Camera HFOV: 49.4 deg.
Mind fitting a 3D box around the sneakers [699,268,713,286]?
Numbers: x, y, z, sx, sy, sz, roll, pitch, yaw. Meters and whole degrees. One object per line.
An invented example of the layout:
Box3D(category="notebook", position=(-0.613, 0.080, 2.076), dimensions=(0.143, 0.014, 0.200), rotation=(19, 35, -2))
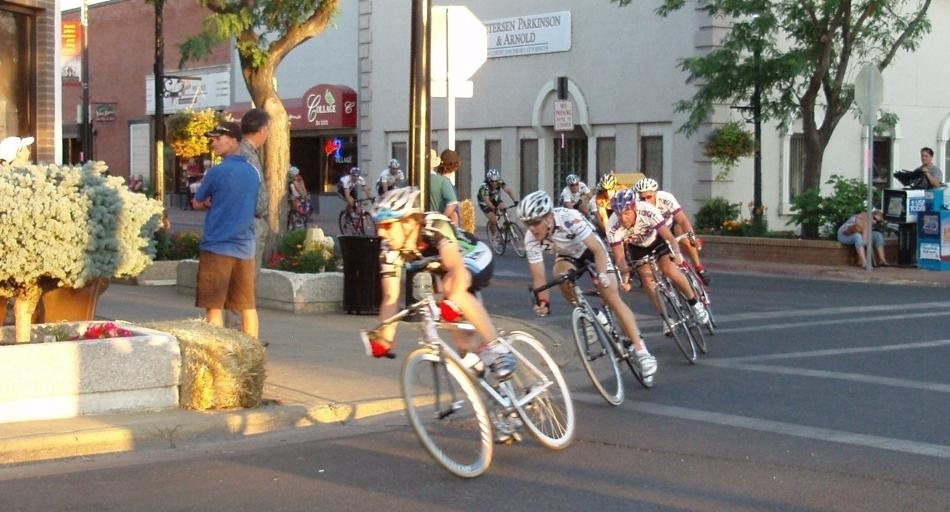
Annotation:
Box3D(category="sneakers", position=(4.277, 0.376, 18.892), dimensions=(0.094, 0.233, 0.251), rotation=(-6, -14, -21))

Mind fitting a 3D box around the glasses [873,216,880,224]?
Box3D(category="glasses", position=(10.098, -0.917, 25.907), dimensions=(0.101, 0.156, 0.103), rotation=(-22, 26, 9))

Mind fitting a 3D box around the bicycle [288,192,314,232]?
Box3D(category="bicycle", position=(-6.254, -1.586, 36.747), dimensions=(1.061, 1.290, 2.144), rotation=(-2, -1, 4))

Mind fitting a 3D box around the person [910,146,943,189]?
Box3D(category="person", position=(11.480, -2.200, 25.986), dimensions=(0.669, 0.992, 1.501), rotation=(5, 14, 22))

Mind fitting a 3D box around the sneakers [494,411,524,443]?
Box3D(category="sneakers", position=(0.430, 2.211, 13.212), dimensions=(0.228, 0.282, 0.481), rotation=(-31, -22, -11))

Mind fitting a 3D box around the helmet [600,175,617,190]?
Box3D(category="helmet", position=(2.937, -1.626, 22.672), dimensions=(0.343, 0.377, 0.423), rotation=(0, -3, 8))

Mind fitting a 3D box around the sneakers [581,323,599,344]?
Box3D(category="sneakers", position=(1.716, 1.165, 15.335), dimensions=(0.234, 0.286, 0.104), rotation=(-7, -20, -30))

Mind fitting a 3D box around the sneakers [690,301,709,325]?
Box3D(category="sneakers", position=(3.825, 0.968, 17.451), dimensions=(0.234, 0.467, 0.203), rotation=(-29, -7, 24))

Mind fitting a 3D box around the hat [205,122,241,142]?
Box3D(category="hat", position=(-3.697, -1.848, 15.271), dimensions=(0.422, 0.194, 0.287), rotation=(2, -3, -26))

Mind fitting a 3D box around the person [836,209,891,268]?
Box3D(category="person", position=(9.666, -0.447, 25.418), dimensions=(1.310, 1.352, 0.868), rotation=(-9, 16, -34))

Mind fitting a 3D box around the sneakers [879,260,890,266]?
Box3D(category="sneakers", position=(10.183, 0.179, 25.540), dimensions=(0.384, 0.141, 0.133), rotation=(-4, 10, -27))

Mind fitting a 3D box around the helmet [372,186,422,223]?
Box3D(category="helmet", position=(-0.895, -0.610, 12.912), dimensions=(0.581, 0.218, 0.417), rotation=(-32, 27, -32))
